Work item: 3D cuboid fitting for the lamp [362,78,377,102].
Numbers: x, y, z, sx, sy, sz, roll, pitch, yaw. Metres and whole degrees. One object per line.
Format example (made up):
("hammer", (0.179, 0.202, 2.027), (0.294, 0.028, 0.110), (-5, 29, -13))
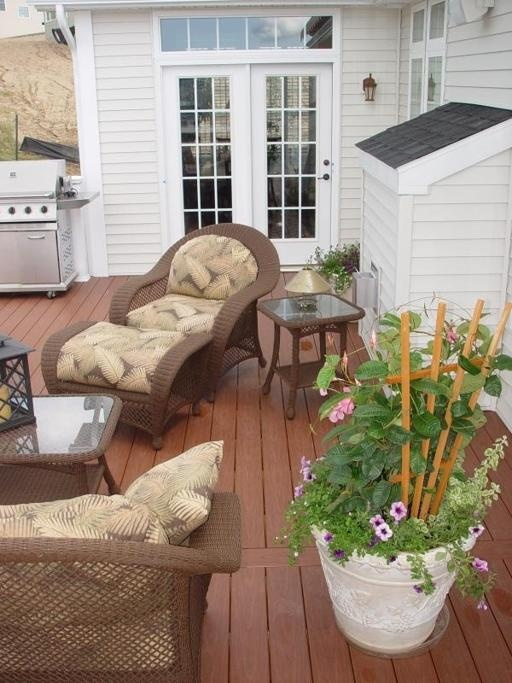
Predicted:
("lamp", (1.387, -3.087, 6.405), (0.160, 0.293, 0.177), (3, 21, 12))

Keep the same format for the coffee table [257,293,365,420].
("coffee table", (0.297, -0.046, 3.757), (0.730, 0.874, 0.816), (-6, 18, -19))

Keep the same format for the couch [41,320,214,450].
("couch", (-0.814, 0.206, 3.614), (1.070, 0.721, 1.164), (16, 21, 25))
